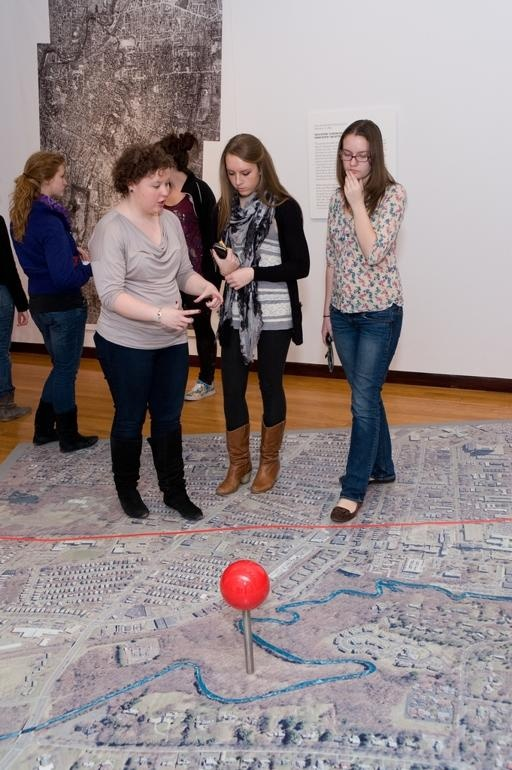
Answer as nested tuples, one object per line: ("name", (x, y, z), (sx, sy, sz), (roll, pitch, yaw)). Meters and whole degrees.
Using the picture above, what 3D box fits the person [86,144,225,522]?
("person", (-0.363, -0.151, 2.135), (0.485, 1.429, 0.506), (-3, 5, -6))

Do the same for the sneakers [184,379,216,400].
("sneakers", (-0.403, 0.050, 4.071), (0.088, 0.103, 0.241), (2, 4, 35))

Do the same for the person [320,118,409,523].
("person", (0.414, -0.210, 2.208), (0.300, 1.490, 0.527), (-2, 5, 6))

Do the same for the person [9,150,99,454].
("person", (-1.049, -0.402, 2.950), (0.359, 1.580, 0.458), (-5, 5, -20))

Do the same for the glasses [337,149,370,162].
("glasses", (0.340, -0.790, 1.942), (0.092, 0.047, 0.043), (-1, 6, 16))
